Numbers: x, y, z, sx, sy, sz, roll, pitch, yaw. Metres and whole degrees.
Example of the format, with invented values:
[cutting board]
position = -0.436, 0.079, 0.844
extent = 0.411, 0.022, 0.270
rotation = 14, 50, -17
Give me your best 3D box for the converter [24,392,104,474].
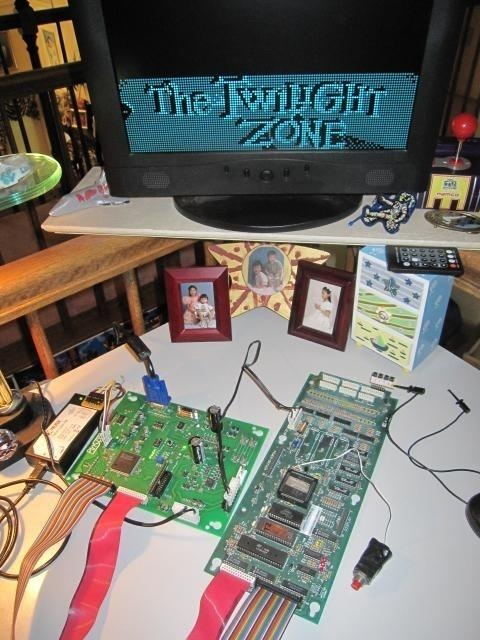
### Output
[converter]
position = -0.418, 0.268, 1.024
extent = 0.097, 0.044, 0.188
rotation = 15, 40, 19
